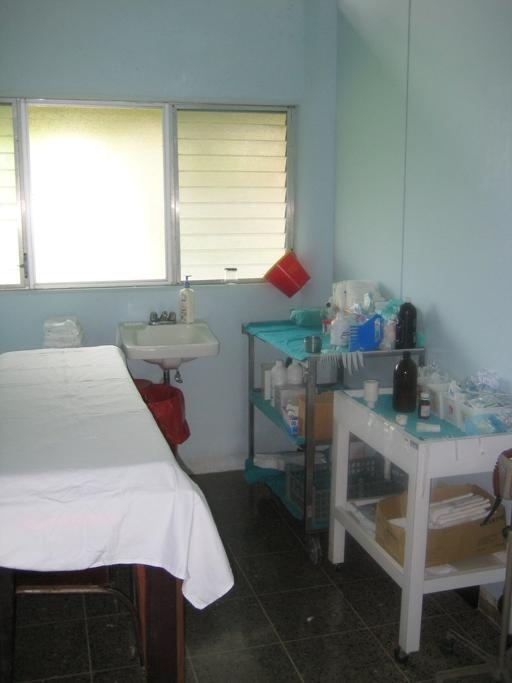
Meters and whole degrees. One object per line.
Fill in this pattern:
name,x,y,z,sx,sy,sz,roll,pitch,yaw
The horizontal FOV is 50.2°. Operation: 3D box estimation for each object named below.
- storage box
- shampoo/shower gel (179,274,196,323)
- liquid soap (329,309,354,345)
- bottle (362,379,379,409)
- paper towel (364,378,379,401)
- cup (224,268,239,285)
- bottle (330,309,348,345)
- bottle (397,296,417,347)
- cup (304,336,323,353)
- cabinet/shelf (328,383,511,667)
storage box,0.615,0.584,1.761,0.308,0.120,0.233,-8,14,-15
shampoo/shower gel,-0.375,-0.233,2.978,0.064,0.258,0.160,-2,6,-12
liquid soap,0.356,-0.045,2.271,0.088,0.134,0.110,0,6,9
bottle,0.420,0.183,2.014,0.074,0.132,0.078,-2,14,1
paper towel,0.411,0.182,1.976,0.043,0.072,0.070,-1,5,-3
cup,-0.137,-0.382,3.170,0.089,0.100,0.077,-3,7,-17
bottle,0.342,-0.056,2.320,0.110,0.121,0.084,-7,18,-19
bottle,0.622,-0.070,2.235,0.065,0.198,0.172,3,7,31
cup,0.235,0.010,2.232,0.062,0.065,0.066,1,3,0
cabinet/shelf,0.541,0.578,1.911,0.349,0.740,0.629,-2,7,-15
